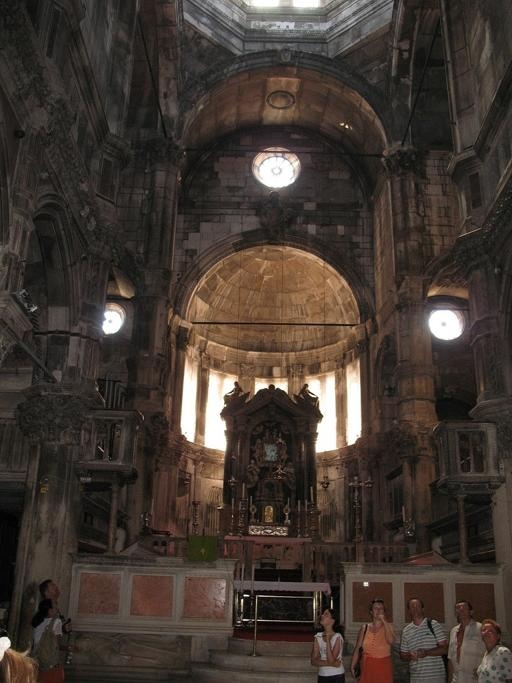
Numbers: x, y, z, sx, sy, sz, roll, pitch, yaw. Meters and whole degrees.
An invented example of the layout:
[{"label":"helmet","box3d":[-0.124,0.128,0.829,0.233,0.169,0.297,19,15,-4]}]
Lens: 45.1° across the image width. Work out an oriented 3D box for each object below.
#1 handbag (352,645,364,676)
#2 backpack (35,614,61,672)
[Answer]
[{"label":"handbag","box3d":[0.972,3.086,5.936,0.074,0.261,0.195,7,-35,9]},{"label":"backpack","box3d":[-2.071,3.037,6.144,0.232,0.500,0.429,8,-21,-14]}]
